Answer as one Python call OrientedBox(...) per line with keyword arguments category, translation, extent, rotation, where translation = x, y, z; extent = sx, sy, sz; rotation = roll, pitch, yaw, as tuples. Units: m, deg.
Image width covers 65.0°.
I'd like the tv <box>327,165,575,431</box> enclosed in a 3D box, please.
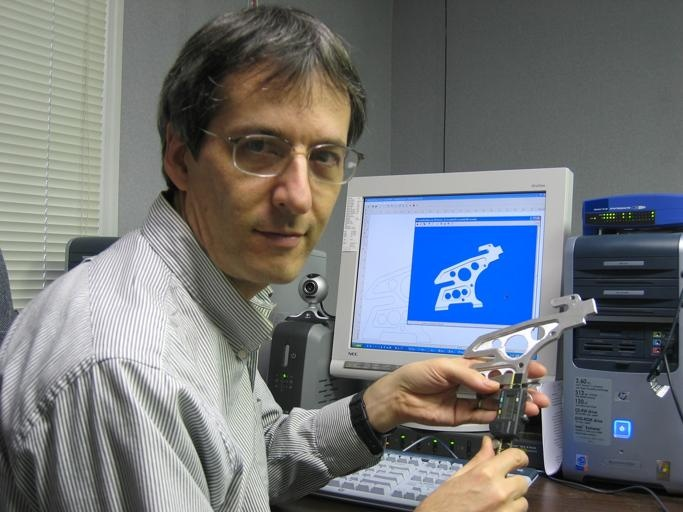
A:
OrientedBox(category="tv", translation=(0.235, 0.089, 1.102), extent=(0.526, 0.581, 0.223), rotation=(0, -16, 19))
